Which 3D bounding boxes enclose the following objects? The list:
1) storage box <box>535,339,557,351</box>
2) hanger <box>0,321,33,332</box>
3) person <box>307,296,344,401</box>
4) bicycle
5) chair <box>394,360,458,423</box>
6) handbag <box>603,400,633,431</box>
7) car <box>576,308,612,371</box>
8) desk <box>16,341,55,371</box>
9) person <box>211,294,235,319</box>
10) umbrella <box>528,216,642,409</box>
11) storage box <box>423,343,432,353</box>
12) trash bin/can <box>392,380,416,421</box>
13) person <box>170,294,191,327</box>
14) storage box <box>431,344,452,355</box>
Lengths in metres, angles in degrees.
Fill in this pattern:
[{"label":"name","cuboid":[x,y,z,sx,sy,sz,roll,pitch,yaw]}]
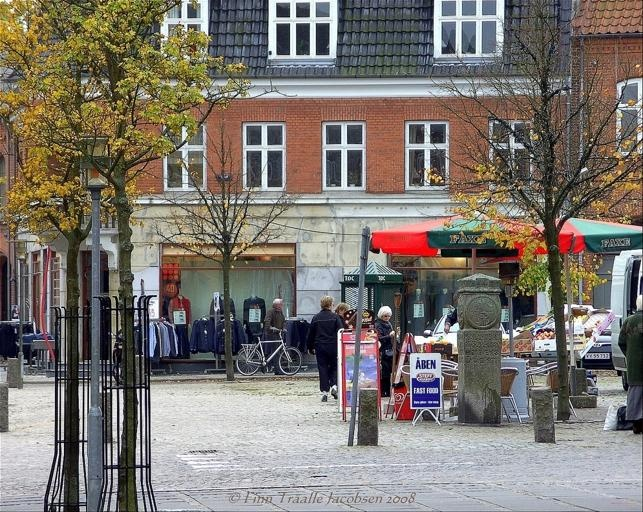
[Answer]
[{"label":"storage box","cuboid":[4.813,1.926,34.163,0.405,0.152,0.265,-1,3,1]},{"label":"hanger","cuboid":[-8.870,2.046,46.204,0.578,0.239,0.589,2,-4,-18]},{"label":"person","cuboid":[0.104,1.970,33.592,0.758,2.209,0.669,-3,-3,5]},{"label":"bicycle","cuboid":[-1.420,2.659,42.468,1.888,1.223,0.963,-2,-1,-2]},{"label":"chair","cuboid":[2.002,2.487,29.969,1.182,1.343,1.517,-3,-3,5]},{"label":"handbag","cuboid":[5.326,2.926,28.639,0.668,0.669,0.391,3,4,13]},{"label":"car","cuboid":[6.345,2.025,36.403,0.921,0.867,1.617,0,6,4]},{"label":"desk","cuboid":[-7.509,2.651,42.000,0.952,0.696,0.534,0,-5,-4]},{"label":"person","cuboid":[-2.697,1.378,43.268,0.650,0.880,0.366,1,-22,-12]},{"label":"umbrella","cuboid":[5.493,0.727,32.284,2.734,3.080,2.745,3,-3,-45]},{"label":"storage box","cuboid":[2.044,1.775,30.699,0.147,0.207,0.150,2,2,24]},{"label":"trash bin/can","cuboid":[1.558,2.770,30.338,0.627,0.893,0.617,0,-6,-4]},{"label":"person","cuboid":[-3.949,1.555,44.482,0.718,1.005,0.256,5,-21,-17]},{"label":"storage box","cuboid":[2.407,1.820,31.355,0.248,0.161,0.254,1,2,2]}]
